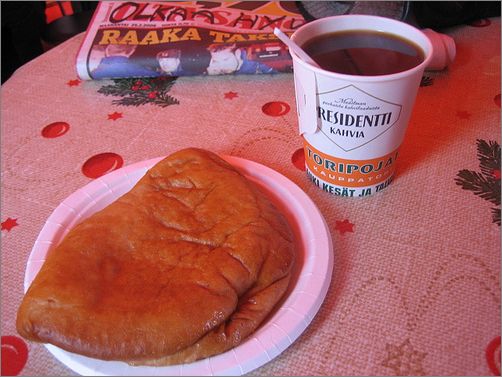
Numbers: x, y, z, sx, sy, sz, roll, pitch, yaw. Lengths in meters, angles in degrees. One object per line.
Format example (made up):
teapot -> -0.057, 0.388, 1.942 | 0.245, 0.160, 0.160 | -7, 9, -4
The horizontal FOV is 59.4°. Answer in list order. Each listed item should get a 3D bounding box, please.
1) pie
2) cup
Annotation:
pie -> -0.100, 0.098, 0.600 | 0.287, 0.084, 0.341 | 22, 51, 20
cup -> 0.159, -0.144, 0.783 | 0.310, 0.277, 0.270 | 0, 44, 3
